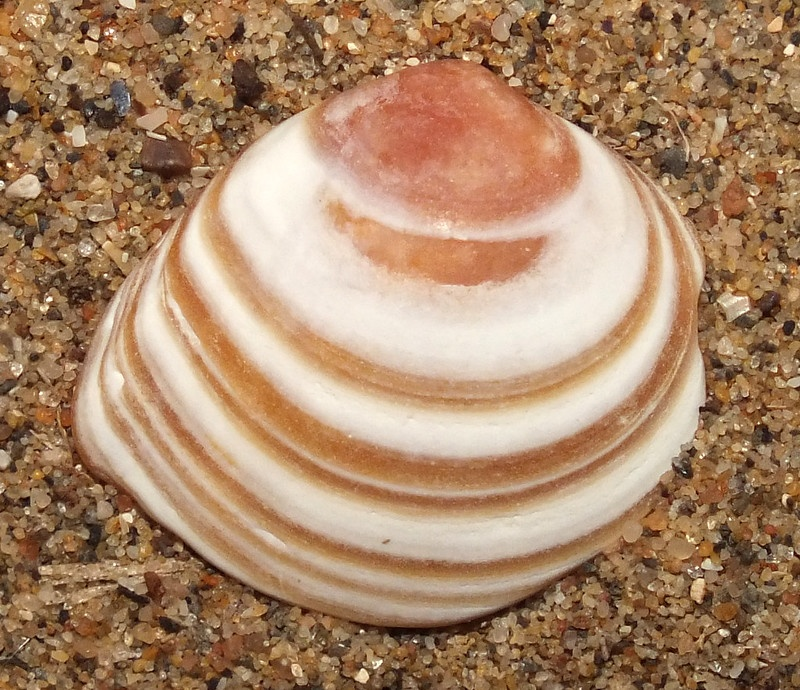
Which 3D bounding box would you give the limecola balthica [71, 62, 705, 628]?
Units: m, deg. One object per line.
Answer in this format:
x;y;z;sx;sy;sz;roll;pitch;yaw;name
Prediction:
0.019;0.048;2.704;1.400;0.366;1.301;-45;86;-3;limecola balthica
